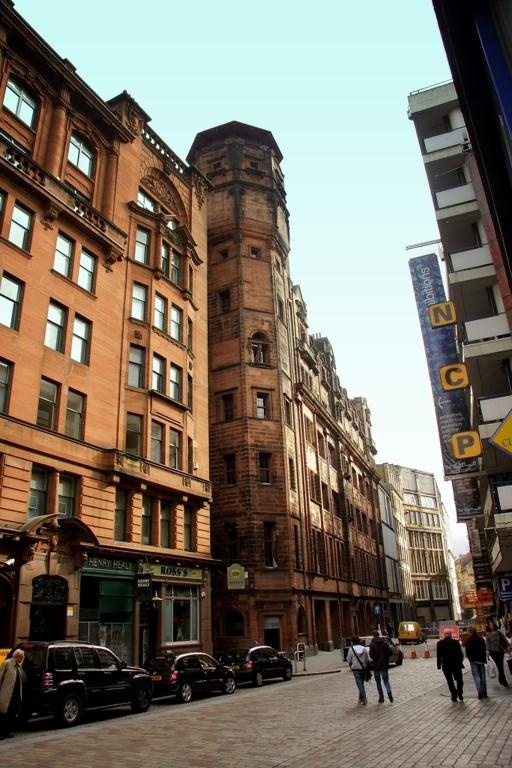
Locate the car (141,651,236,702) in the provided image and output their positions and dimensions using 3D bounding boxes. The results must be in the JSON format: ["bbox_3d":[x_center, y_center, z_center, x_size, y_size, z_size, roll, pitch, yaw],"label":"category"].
[{"bbox_3d":[-2.300,9.553,17.385,1.587,1.328,2.936,-24,-34,28],"label":"car"}]

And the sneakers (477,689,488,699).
[{"bbox_3d":[5.507,7.578,12.609,0.126,0.163,0.382,-5,-37,17],"label":"sneakers"}]

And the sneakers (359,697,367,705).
[{"bbox_3d":[2.838,8.433,13.727,0.114,0.152,0.354,1,-27,3],"label":"sneakers"}]

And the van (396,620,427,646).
[{"bbox_3d":[13.215,21.716,44.829,1.707,1.762,3.384,-14,-24,21],"label":"van"}]

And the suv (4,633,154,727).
[{"bbox_3d":[-4.251,7.234,12.736,0.687,1.838,4.058,-14,-24,21],"label":"suv"}]
